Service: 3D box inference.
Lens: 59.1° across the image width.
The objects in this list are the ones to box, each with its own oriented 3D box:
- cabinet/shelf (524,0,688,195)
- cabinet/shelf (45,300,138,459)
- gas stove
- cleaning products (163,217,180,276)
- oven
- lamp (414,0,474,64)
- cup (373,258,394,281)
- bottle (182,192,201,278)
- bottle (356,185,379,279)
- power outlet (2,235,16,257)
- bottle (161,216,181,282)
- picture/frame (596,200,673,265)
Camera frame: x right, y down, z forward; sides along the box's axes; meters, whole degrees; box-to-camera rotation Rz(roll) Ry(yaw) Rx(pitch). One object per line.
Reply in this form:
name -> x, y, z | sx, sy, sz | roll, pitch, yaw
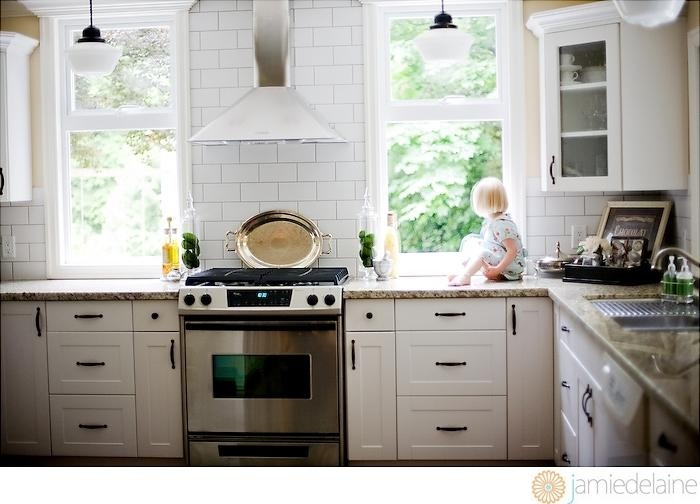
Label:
cabinet/shelf -> 1.569, -0.932, 3.746 | 0.846, 1.120, 0.270 | -1, 1, 28
cabinet/shelf -> -1.498, 0.745, 3.970 | 0.600, 0.943, 0.654 | -2, 0, 14
gas stove -> -0.508, 0.237, 3.738 | 0.966, 0.193, 0.467 | -2, 2, 2
cleaning products -> -1.187, -0.038, 4.094 | 0.141, 0.395, 0.137 | -3, 4, -28
oven -> -0.475, 0.695, 3.914 | 1.118, 1.066, 0.800 | -1, -5, 0
lamp -> 0.559, -1.286, 3.670 | 0.321, 0.430, 0.313 | -1, 1, -3
cup -> 0.202, 0.103, 3.852 | 0.134, 0.129, 0.131 | 0, -3, 0
bottle -> -1.050, -0.137, 4.073 | 0.085, 0.330, 0.086 | -3, 2, 0
bottle -> 0.118, -0.129, 4.009 | 0.122, 0.581, 0.306 | -2, 1, 0
power outlet -> -2.370, -0.035, 4.293 | 0.098, 0.149, 0.017 | -2, 1, 7
bottle -> -1.192, -0.030, 4.100 | 0.125, 0.335, 0.346 | -2, 2, -15
picture/frame -> 1.750, -0.113, 3.756 | 0.381, 0.439, 0.033 | 15, -17, 46
